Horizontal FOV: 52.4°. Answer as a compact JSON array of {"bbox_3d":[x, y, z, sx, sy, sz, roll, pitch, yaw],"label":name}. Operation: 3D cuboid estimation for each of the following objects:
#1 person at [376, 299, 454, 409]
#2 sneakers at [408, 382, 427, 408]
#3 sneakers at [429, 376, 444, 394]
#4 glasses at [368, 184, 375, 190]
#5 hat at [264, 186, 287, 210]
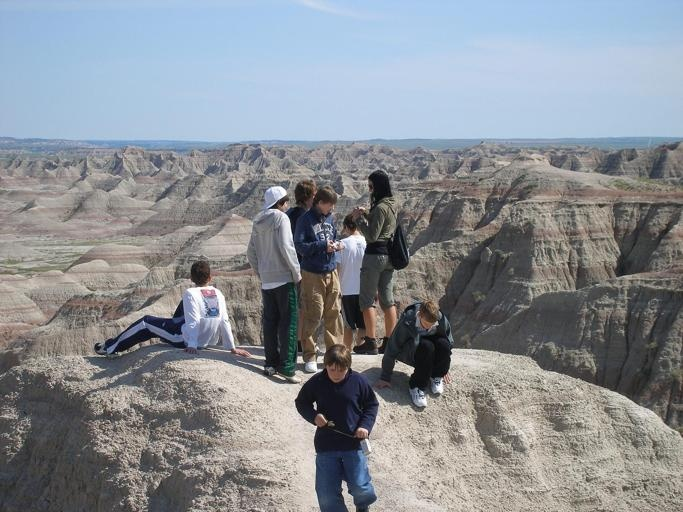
[{"bbox_3d":[1.437,1.616,12.430,1.213,1.658,1.204,-6,15,-33],"label":"person"},{"bbox_3d":[1.373,2.501,12.498,0.189,0.189,0.479,-10,20,-20],"label":"sneakers"},{"bbox_3d":[1.747,2.331,12.799,0.147,0.166,0.386,-2,41,-4],"label":"sneakers"},{"bbox_3d":[0.570,-1.320,13.300,0.043,0.096,0.139,5,-2,-12],"label":"glasses"},{"bbox_3d":[-1.099,-1.044,12.113,0.313,0.227,0.447,-14,11,42],"label":"hat"}]
